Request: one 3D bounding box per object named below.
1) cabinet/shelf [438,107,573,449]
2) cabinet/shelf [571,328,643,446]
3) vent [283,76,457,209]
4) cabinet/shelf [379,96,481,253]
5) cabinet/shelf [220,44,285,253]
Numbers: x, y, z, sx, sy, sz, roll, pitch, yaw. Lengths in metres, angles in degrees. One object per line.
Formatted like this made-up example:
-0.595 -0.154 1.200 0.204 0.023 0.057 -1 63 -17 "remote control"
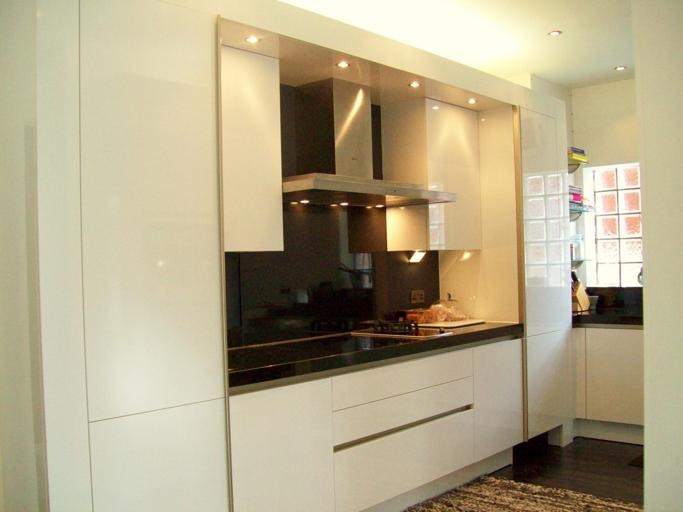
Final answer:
0.946 0.237 4.677 0.925 2.605 1.032 -10 -2 -12 "cabinet/shelf"
2.146 1.030 4.576 0.500 0.950 0.170 -2 4 22 "cabinet/shelf"
0.043 -0.689 3.528 0.604 0.776 1.266 0 4 44 "vent"
0.749 -0.502 4.292 0.858 1.446 0.543 0 -2 -11 "cabinet/shelf"
-0.505 -0.551 3.088 0.347 1.012 0.434 -1 2 -9 "cabinet/shelf"
